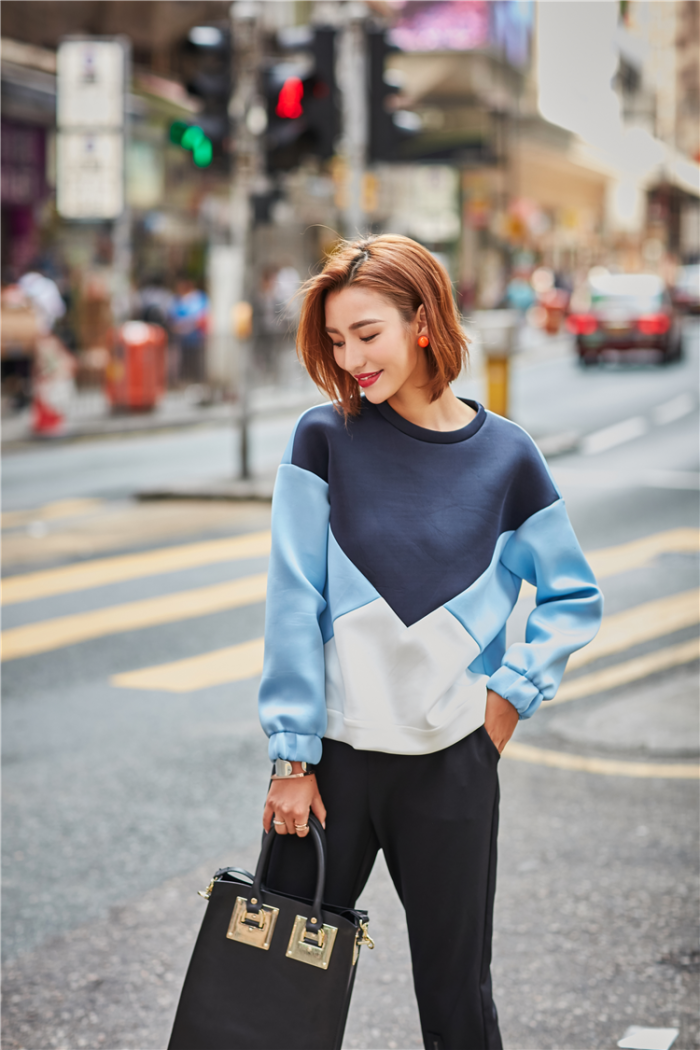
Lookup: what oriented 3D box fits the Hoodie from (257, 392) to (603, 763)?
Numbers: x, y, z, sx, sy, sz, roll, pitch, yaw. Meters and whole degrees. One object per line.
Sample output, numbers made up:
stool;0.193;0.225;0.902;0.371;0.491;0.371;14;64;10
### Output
Hoodie;0.129;0.073;1.633;0.546;0.500;0.235;-3;12;-6
